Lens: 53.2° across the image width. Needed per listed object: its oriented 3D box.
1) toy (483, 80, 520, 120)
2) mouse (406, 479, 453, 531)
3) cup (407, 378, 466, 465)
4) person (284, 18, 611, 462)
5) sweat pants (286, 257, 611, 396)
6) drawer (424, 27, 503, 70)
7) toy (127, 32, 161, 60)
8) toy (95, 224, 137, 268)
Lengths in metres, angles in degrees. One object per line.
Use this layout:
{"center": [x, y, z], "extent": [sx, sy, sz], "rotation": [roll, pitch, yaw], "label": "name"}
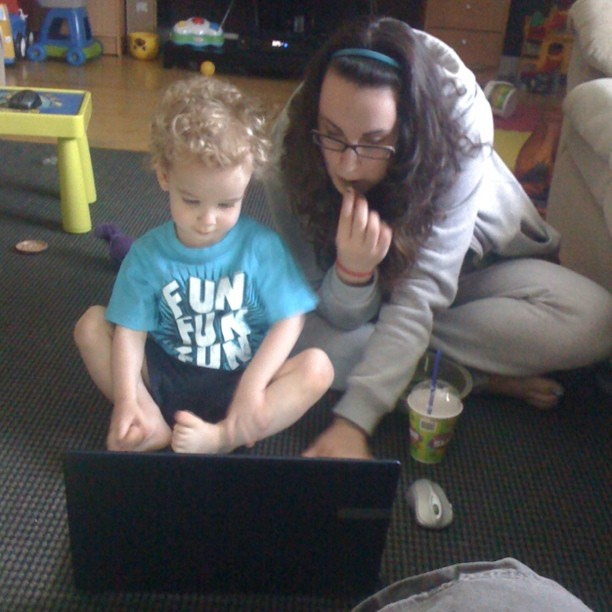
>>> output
{"center": [0.886, -0.955, 2.777], "extent": [0.155, 0.150, 0.221], "rotation": [22, 42, 23], "label": "toy"}
{"center": [0.225, 0.352, 1.089], "extent": [0.069, 0.040, 0.085], "rotation": [-7, 41, -12], "label": "mouse"}
{"center": [0.256, 0.231, 1.195], "extent": [0.093, 0.150, 0.107], "rotation": [3, 26, -8], "label": "cup"}
{"center": [0.245, -0.294, 1.420], "extent": [0.636, 0.894, 0.935], "rotation": [-2, 40, 11], "label": "person"}
{"center": [0.282, -0.056, 1.608], "extent": [0.648, 0.316, 0.740], "rotation": [-1, 28, -8], "label": "sweat pants"}
{"center": [0.947, -1.559, 3.663], "extent": [0.454, 0.207, 0.094], "rotation": [17, 38, 16], "label": "drawer"}
{"center": [-1.094, -1.745, 4.159], "extent": [0.183, 0.158, 0.227], "rotation": [14, 39, -1], "label": "toy"}
{"center": [-0.540, -0.162, 1.745], "extent": [0.069, 0.125, 0.235], "rotation": [5, 2, 7], "label": "toy"}
